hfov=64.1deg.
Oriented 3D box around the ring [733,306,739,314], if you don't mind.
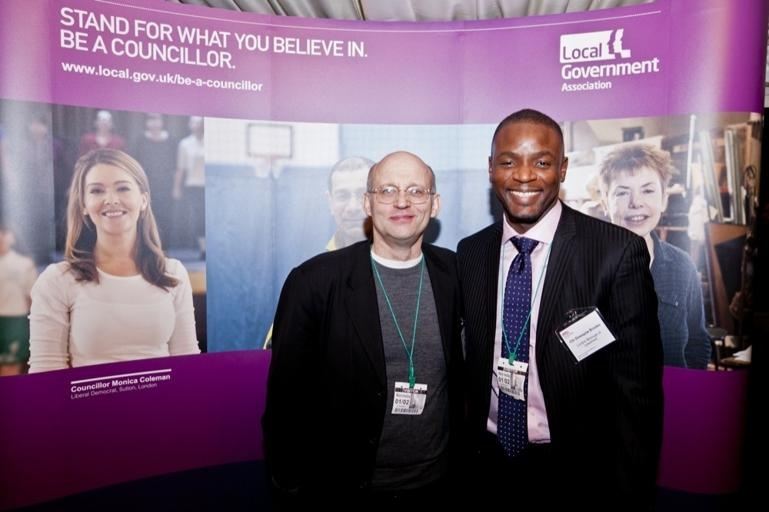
[{"bbox_3d":[2.916,0.444,5.135,0.060,0.060,0.015,3,5,23],"label":"ring"}]
